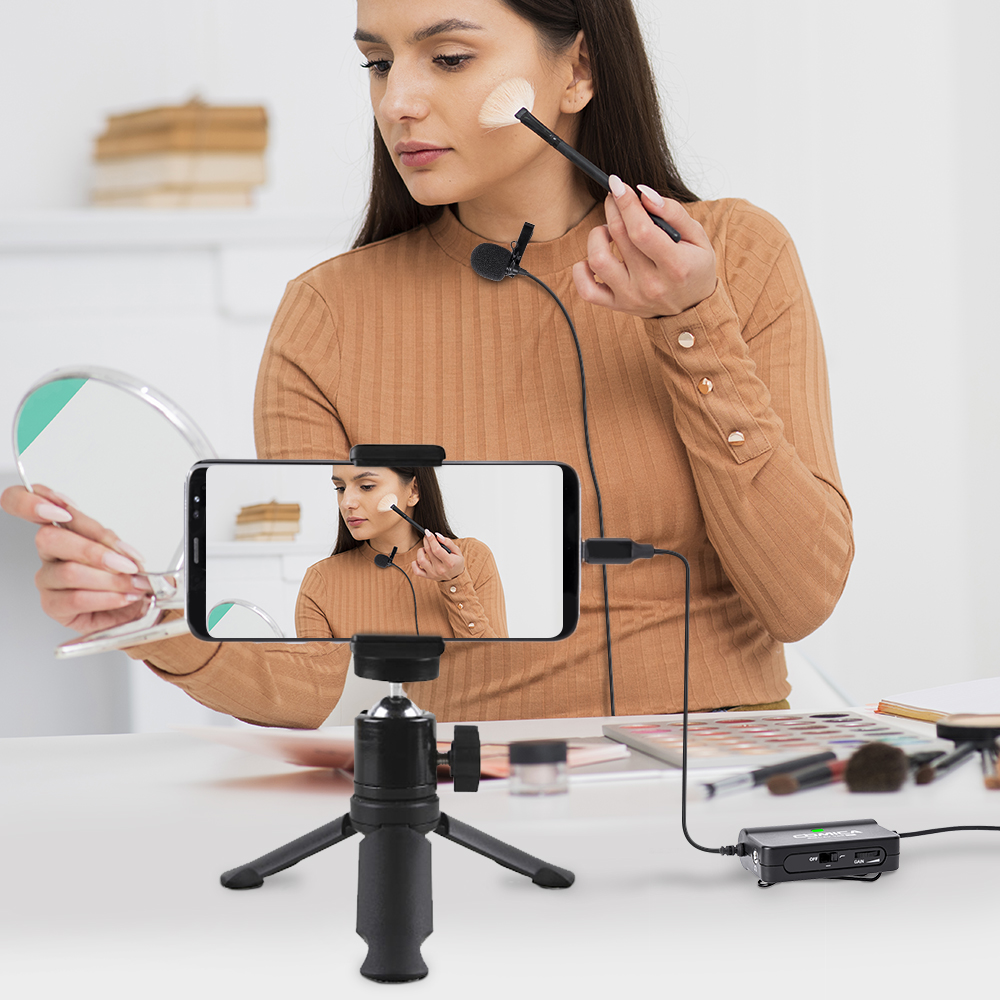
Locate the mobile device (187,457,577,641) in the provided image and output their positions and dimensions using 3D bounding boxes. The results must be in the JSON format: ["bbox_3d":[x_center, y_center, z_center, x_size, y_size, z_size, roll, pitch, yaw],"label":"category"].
[{"bbox_3d":[-0.070,0.032,0.697,0.234,0.117,0.050,-3,7,-12],"label":"mobile device"}]
